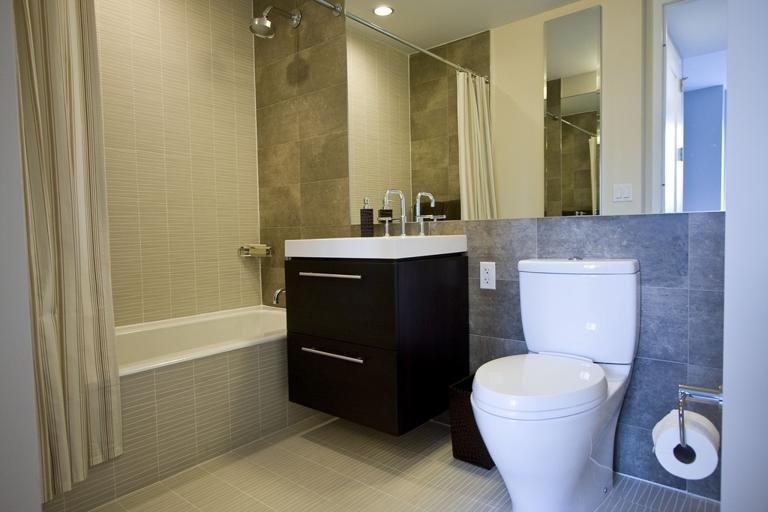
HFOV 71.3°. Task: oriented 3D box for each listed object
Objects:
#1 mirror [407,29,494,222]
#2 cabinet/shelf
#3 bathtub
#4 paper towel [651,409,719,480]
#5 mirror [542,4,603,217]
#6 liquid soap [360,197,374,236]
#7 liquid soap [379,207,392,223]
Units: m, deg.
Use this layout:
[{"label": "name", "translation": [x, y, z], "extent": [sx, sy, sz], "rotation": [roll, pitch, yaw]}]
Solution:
[{"label": "mirror", "translation": [0.386, -0.725, 3.095], "extent": [0.502, 1.010, 0.102], "rotation": [1, 9, 35]}, {"label": "cabinet/shelf", "translation": [-0.087, 0.459, 3.223], "extent": [1.115, 1.054, 0.846], "rotation": [-2, -3, 41]}, {"label": "bathtub", "translation": [-1.050, 0.502, 3.313], "extent": [1.081, 0.229, 0.988], "rotation": [-8, 7, -31]}, {"label": "paper towel", "translation": [1.278, 0.798, 2.261], "extent": [0.239, 0.273, 0.183], "rotation": [0, 8, 30]}, {"label": "mirror", "translation": [0.967, -0.723, 2.726], "extent": [0.266, 1.009, 0.148], "rotation": [0, 9, 30]}, {"label": "liquid soap", "translation": [-0.105, -0.243, 3.264], "extent": [0.093, 0.231, 0.188], "rotation": [-4, 7, -1]}, {"label": "liquid soap", "translation": [0.009, -0.248, 3.242], "extent": [0.091, 0.081, 0.118], "rotation": [-4, 7, 1]}]
